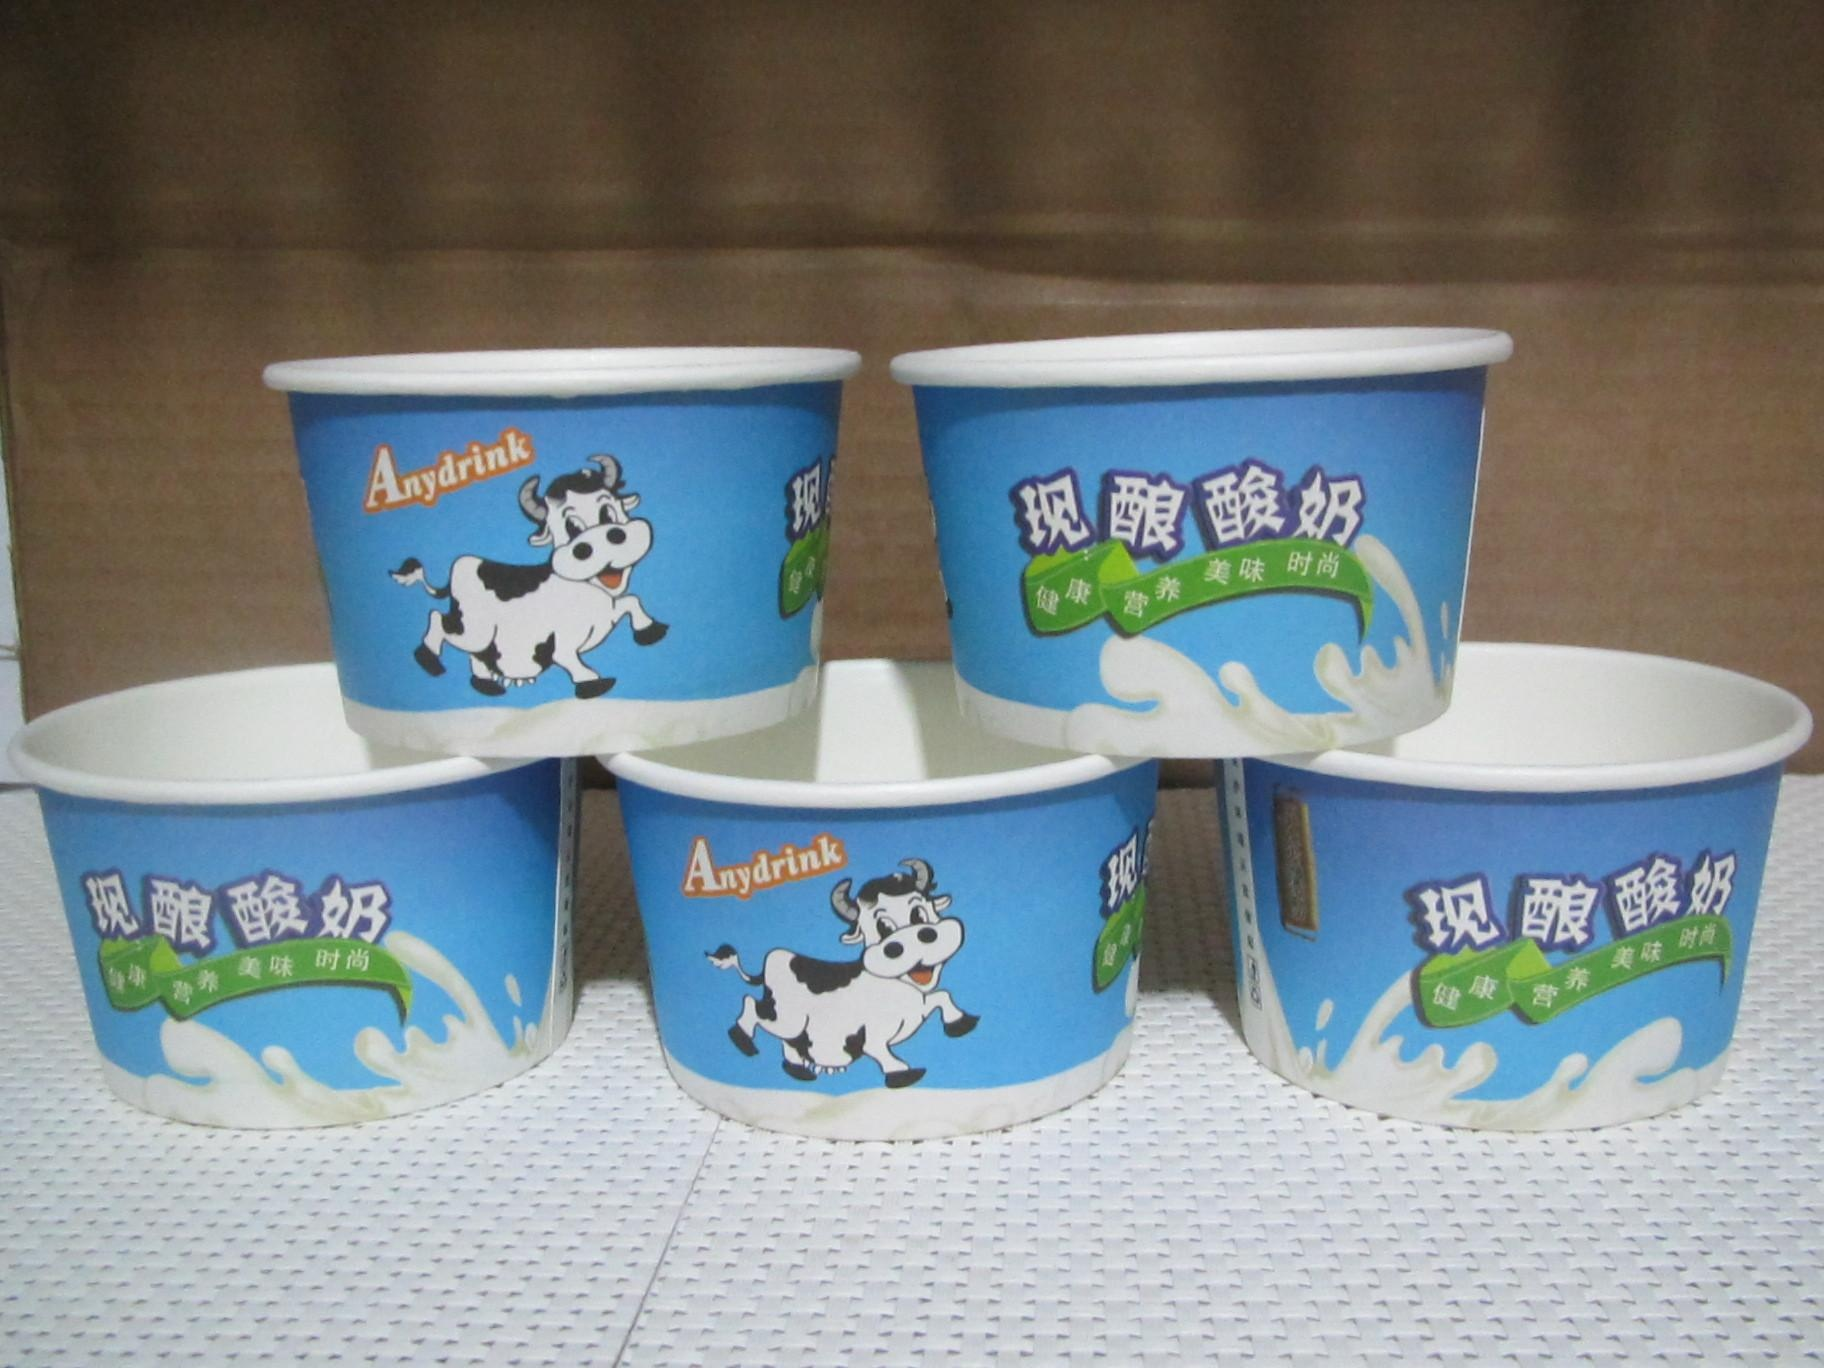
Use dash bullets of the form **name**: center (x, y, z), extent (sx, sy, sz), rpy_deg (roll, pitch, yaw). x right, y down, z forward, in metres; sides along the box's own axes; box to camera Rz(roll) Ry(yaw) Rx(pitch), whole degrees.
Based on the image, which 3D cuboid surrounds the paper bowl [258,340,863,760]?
- **paper bowl**: center (-0.263, -0.091, 1.326), extent (0.370, 0.232, 0.372), rpy_deg (-3, 6, 0)

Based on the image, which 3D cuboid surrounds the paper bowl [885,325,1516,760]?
- **paper bowl**: center (0.237, -0.125, 1.462), extent (0.489, 0.310, 0.481), rpy_deg (-2, 7, 0)

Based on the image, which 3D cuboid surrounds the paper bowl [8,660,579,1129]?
- **paper bowl**: center (-0.506, 0.163, 1.477), extent (0.455, 0.293, 0.457), rpy_deg (0, 13, 0)

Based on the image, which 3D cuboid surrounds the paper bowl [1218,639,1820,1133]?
- **paper bowl**: center (0.483, 0.091, 1.336), extent (0.414, 0.251, 0.409), rpy_deg (-1, 9, 0)
